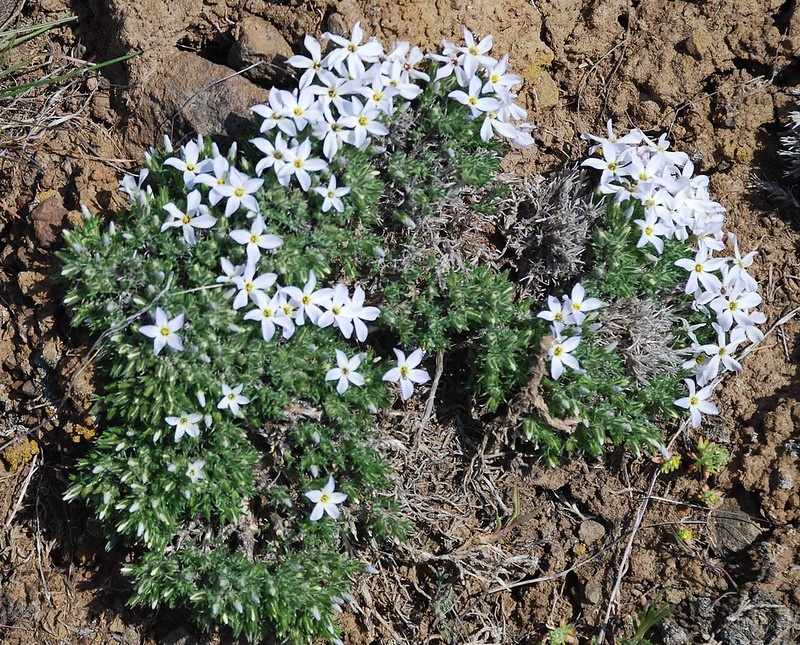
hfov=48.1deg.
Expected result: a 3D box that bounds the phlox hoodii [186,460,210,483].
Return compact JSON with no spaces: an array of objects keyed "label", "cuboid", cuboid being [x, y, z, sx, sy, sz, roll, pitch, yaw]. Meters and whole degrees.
[{"label":"phlox hoodii","cuboid":[-1.453,1.048,6.388,0.141,0.159,0.121,12,21,-22]}]

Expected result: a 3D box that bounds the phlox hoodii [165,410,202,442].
[{"label":"phlox hoodii","cuboid":[-1.534,0.712,6.325,0.202,0.232,0.085,-3,1,-16]}]

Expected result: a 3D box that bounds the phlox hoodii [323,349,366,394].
[{"label":"phlox hoodii","cuboid":[-0.392,0.364,6.514,0.290,0.331,0.293,19,20,-2]}]

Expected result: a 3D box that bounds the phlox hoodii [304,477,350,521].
[{"label":"phlox hoodii","cuboid":[-0.550,1.250,6.443,0.326,0.121,0.285,11,1,-40]}]
